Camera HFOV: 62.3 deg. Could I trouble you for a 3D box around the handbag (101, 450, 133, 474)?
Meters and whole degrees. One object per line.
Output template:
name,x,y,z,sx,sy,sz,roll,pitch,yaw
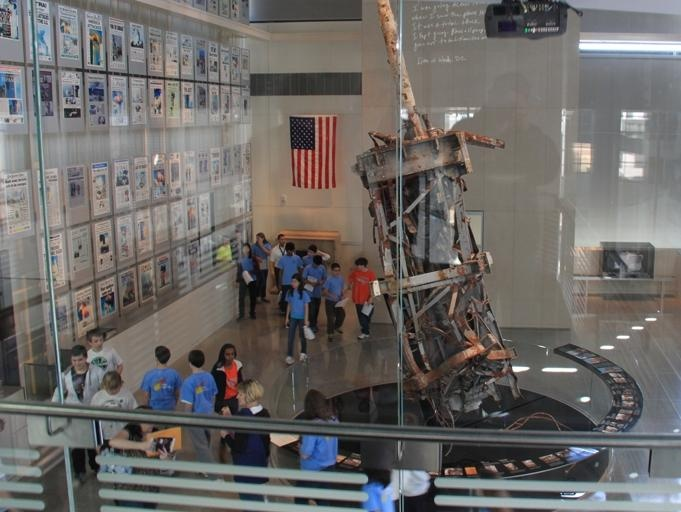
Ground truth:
handbag,-1.661,1.472,4.124,0.155,0.240,0.076,0,-2,-12

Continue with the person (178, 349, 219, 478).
person,-1.088,1.188,4.312,0.282,0.676,0.780,-2,10,-13

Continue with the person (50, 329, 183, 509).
person,-1.695,1.246,4.380,0.878,1.154,0.622,1,9,7

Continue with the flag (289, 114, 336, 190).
flag,-0.253,-0.949,5.168,0.433,0.671,0.411,-1,9,-6

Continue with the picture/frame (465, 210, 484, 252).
picture/frame,0.917,-0.172,3.847,0.123,0.266,0.039,-2,8,-14

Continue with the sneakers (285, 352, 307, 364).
sneakers,-0.363,0.839,4.598,0.198,0.083,0.091,-8,7,13
